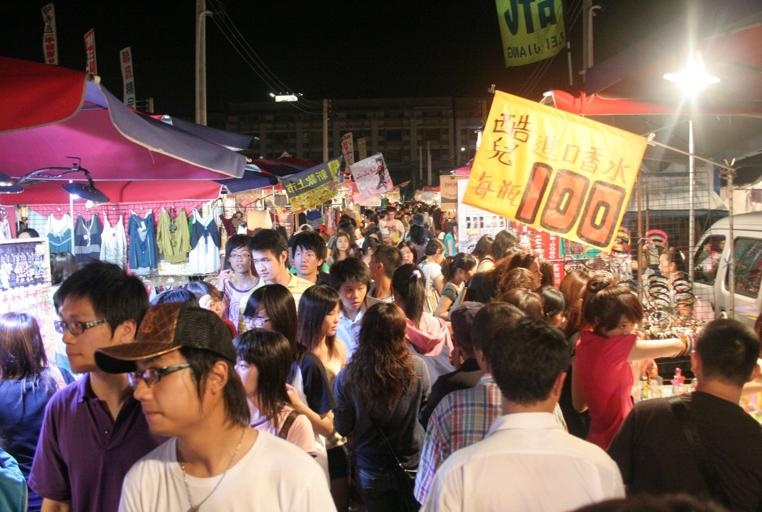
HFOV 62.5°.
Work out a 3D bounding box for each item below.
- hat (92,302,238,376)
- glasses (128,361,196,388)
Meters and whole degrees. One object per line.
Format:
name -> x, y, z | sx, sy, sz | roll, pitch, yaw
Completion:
hat -> -1.279, 0.475, 3.705 | 0.667, 0.356, 0.424 | 7, -10, -15
glasses -> -1.286, 0.676, 3.661 | 0.331, 0.118, 0.049 | 2, 2, 0
